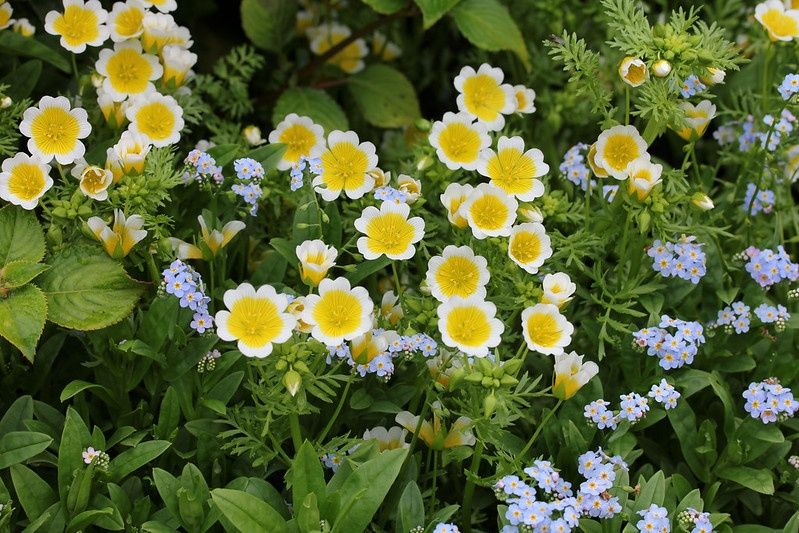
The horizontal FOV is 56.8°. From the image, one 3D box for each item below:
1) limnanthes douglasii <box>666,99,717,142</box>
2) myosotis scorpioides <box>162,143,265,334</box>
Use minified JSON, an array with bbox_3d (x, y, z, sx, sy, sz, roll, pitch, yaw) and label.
[{"bbox_3d":[0.974,-0.484,2.430,0.132,0.102,0.191,4,68,20],"label":"limnanthes douglasii"},{"bbox_3d":[-0.597,-0.089,2.384,0.207,0.254,0.764,0,92,-6],"label":"myosotis scorpioides"}]
